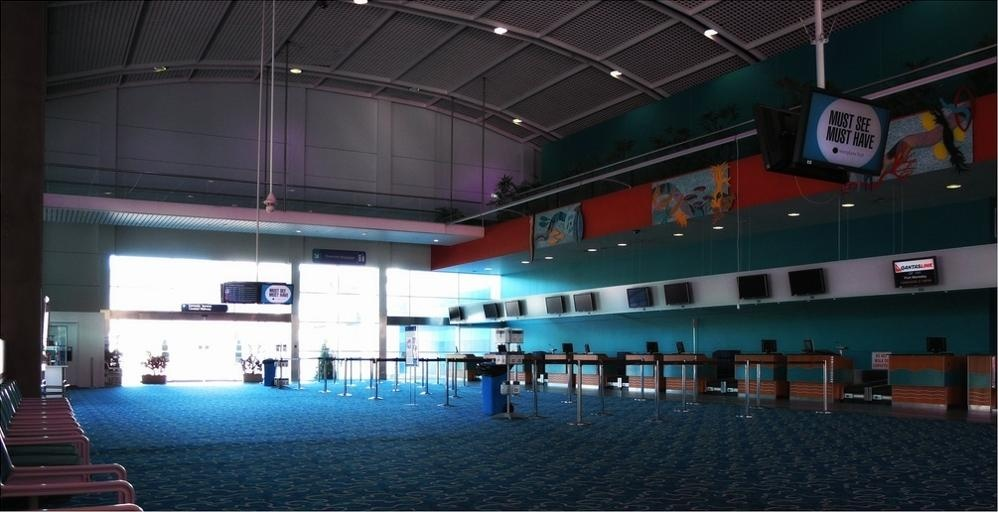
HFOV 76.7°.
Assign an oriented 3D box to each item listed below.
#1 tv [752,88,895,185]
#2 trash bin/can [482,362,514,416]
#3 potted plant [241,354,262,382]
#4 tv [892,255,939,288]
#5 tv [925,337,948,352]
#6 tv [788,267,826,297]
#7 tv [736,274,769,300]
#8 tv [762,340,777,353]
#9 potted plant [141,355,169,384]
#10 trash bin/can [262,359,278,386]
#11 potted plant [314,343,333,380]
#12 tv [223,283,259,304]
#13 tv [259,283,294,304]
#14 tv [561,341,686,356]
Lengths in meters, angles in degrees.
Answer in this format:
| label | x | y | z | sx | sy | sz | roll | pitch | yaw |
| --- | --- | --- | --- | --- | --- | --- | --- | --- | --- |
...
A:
| label | x | y | z | sx | sy | sz | roll | pitch | yaw |
| --- | --- | --- | --- | --- | --- | --- | --- | --- | --- |
| tv | 5.641 | -2.118 | 11.100 | 2.256 | 1.492 | 0.710 | 2 | -12 | -12 |
| trash bin/can | -0.112 | 3.485 | 16.498 | 0.619 | 1.290 | 0.543 | 2 | -12 | -9 |
| potted plant | -10.212 | 4.639 | 26.023 | 0.882 | 1.158 | 0.800 | 2 | -11 | -9 |
| tv | 10.784 | 0.402 | 16.250 | 1.034 | 0.698 | 0.143 | 0 | -2 | 36 |
| tv | 11.810 | 2.396 | 17.003 | 0.180 | 0.414 | 0.477 | 4 | -5 | -25 |
| tv | 8.694 | 0.725 | 17.715 | 0.945 | 0.569 | 0.128 | -7 | -8 | 39 |
| tv | 7.513 | 0.905 | 18.585 | 0.291 | 0.609 | 0.842 | 9 | -12 | -44 |
| tv | 8.347 | 2.817 | 19.507 | 0.486 | 0.383 | 0.142 | -1 | -8 | 10 |
| potted plant | -13.759 | 4.511 | 25.166 | 0.853 | 1.163 | 0.488 | 5 | -13 | -24 |
| trash bin/can | -8.798 | 4.493 | 24.125 | 0.453 | 0.990 | 0.731 | 4 | -12 | -19 |
| potted plant | -7.167 | 4.360 | 25.958 | 0.733 | 1.560 | 2.917 | 3 | -11 | -15 |
| tv | -8.616 | 1.259 | 21.282 | 1.136 | 0.343 | 0.792 | 0 | 1 | 17 |
| tv | -7.489 | 1.246 | 21.117 | 0.999 | 0.633 | 0.646 | 6 | -12 | -28 |
| tv | 4.646 | 3.370 | 23.019 | 5.125 | 0.460 | 2.169 | -10 | -14 | 43 |
